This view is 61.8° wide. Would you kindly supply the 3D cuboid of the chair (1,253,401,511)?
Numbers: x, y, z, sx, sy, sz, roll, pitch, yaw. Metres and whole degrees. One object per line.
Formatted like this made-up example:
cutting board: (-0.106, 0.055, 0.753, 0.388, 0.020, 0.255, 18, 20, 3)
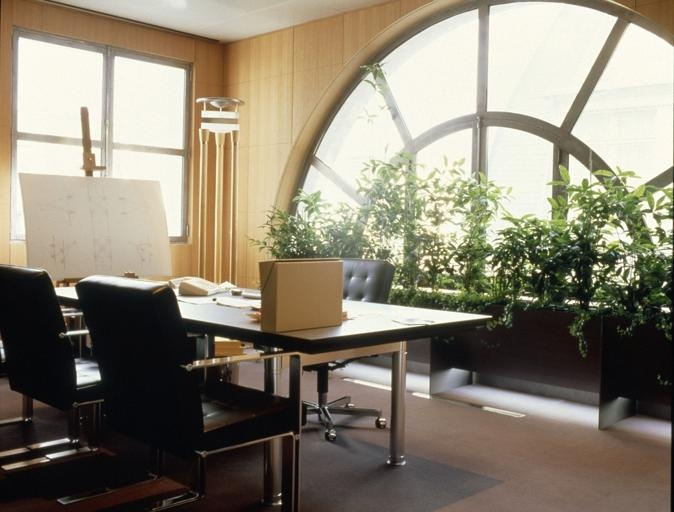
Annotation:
chair: (-0.721, 0.679, 2.727, 0.999, 0.728, 1.660, -3, 4, -45)
